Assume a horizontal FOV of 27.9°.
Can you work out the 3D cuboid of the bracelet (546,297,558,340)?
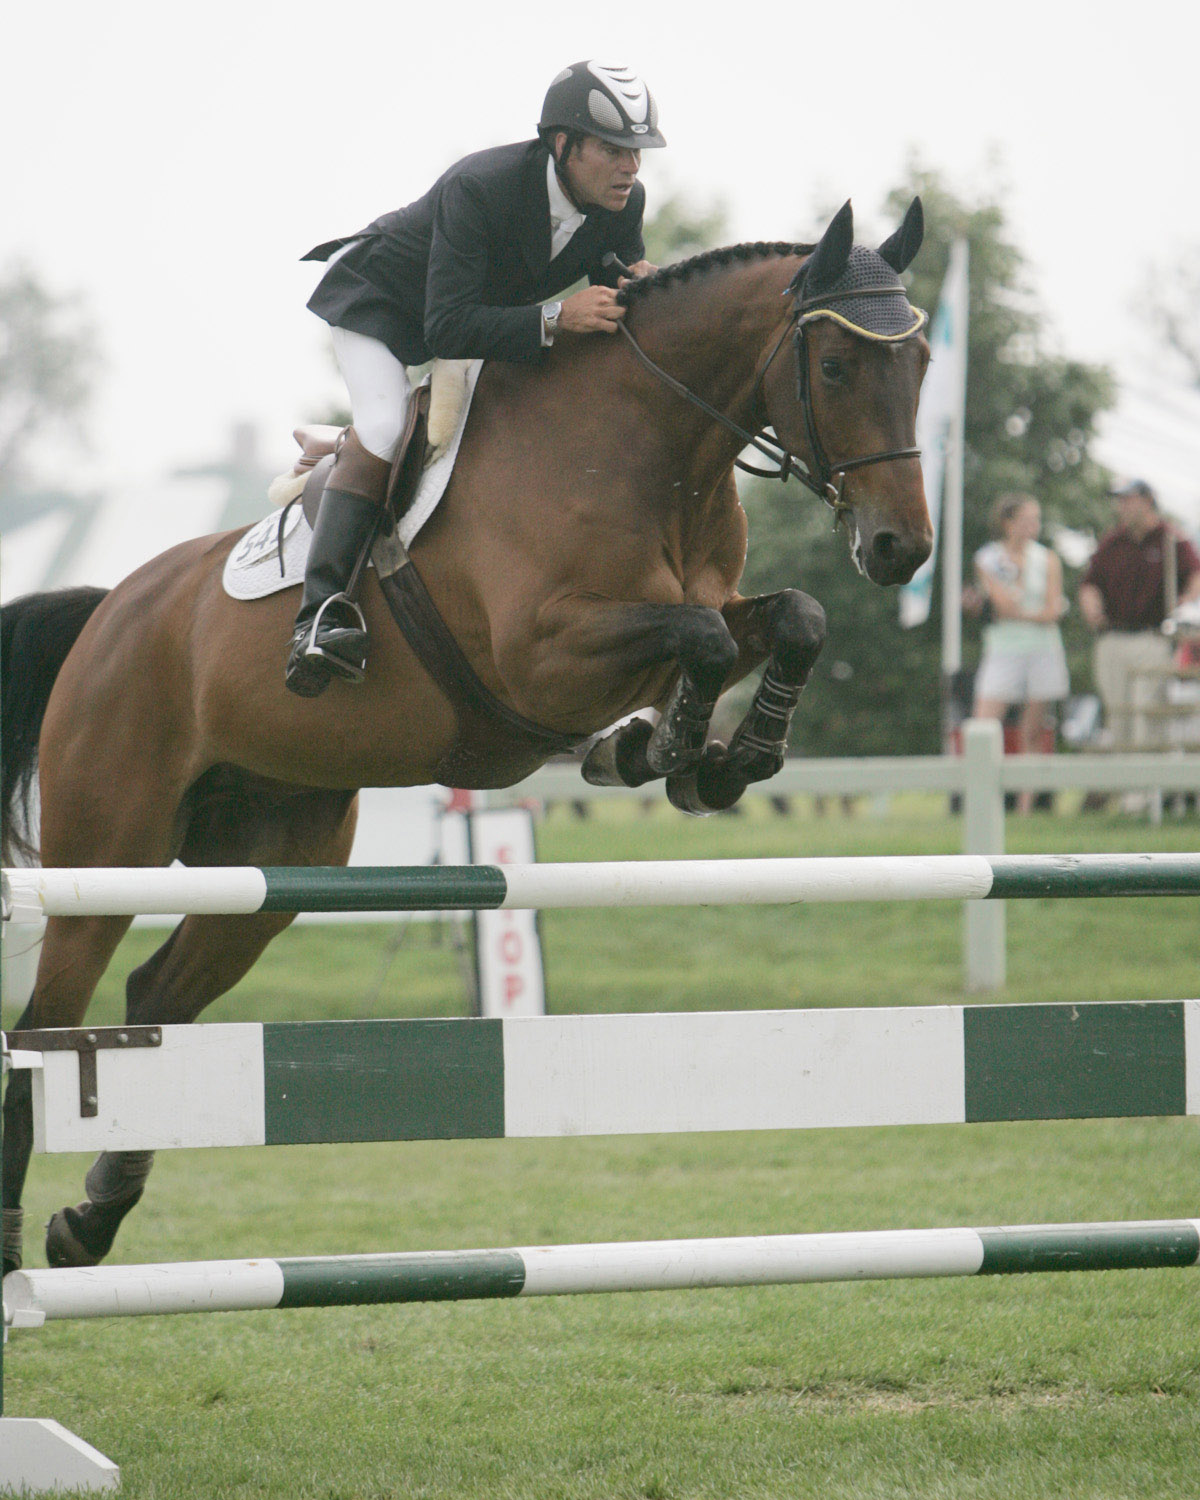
[{"bbox_3d":[-0.088,-0.761,4.281,0.030,0.072,0.091,-2,3,-1],"label":"bracelet"}]

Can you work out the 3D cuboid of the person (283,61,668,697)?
[{"bbox_3d":[-0.227,-0.669,4.357,0.702,1.101,0.584,-2,3,0],"label":"person"}]

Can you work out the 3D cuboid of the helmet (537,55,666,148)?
[{"bbox_3d":[-0.008,-1.140,4.276,0.219,0.166,0.148,-2,3,-1],"label":"helmet"}]
